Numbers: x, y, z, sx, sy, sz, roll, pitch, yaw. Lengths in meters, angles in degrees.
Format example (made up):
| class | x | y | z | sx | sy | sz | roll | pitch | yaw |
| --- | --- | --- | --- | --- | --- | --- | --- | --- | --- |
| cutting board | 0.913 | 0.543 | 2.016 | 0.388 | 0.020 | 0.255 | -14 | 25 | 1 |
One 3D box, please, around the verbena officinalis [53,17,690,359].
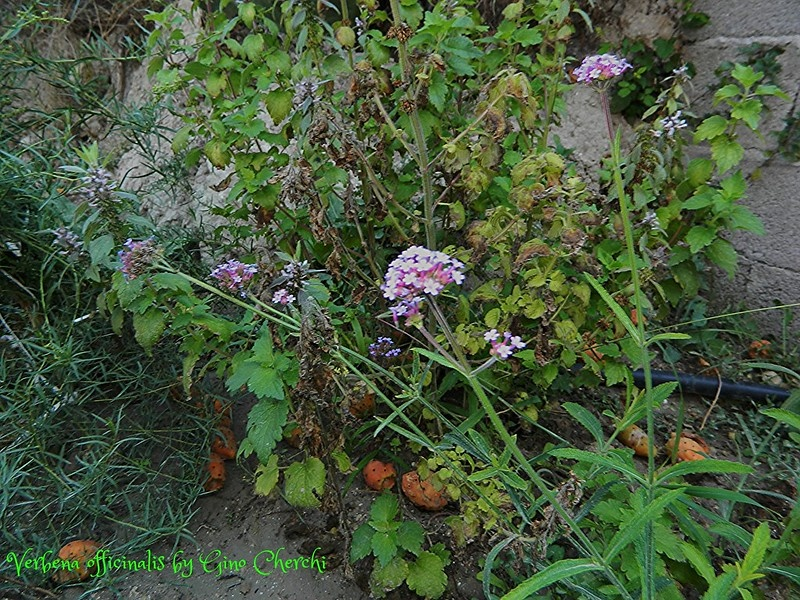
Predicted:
| class | x | y | z | sx | sy | sz | roll | pitch | yaw |
| --- | --- | --- | --- | --- | --- | --- | --- | --- | --- |
| verbena officinalis | 0.007 | -0.439 | 3.466 | 2.710 | 2.260 | 2.003 | -3 | 70 | -6 |
